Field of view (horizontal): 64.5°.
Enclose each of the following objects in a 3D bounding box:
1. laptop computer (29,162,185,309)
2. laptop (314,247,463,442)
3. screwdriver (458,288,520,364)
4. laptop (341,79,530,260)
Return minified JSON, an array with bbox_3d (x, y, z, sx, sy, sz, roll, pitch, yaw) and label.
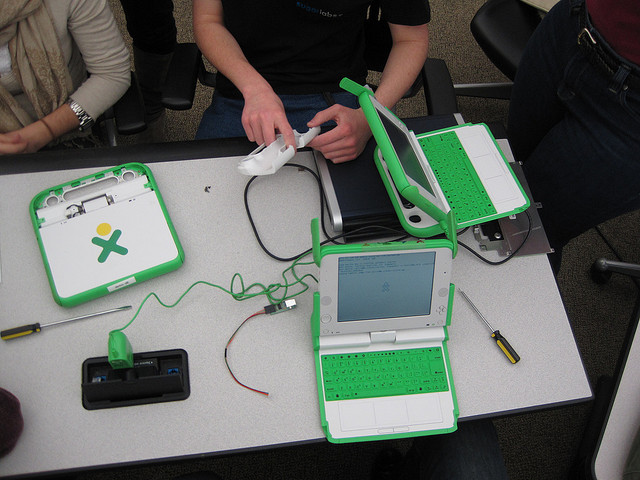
[{"bbox_3d":[-0.566,-0.025,1.347,0.332,0.067,0.356,-23,69,-14],"label":"laptop computer"},{"bbox_3d":[0.153,0.254,1.347,0.383,0.314,0.454,-2,63,-2],"label":"laptop"},{"bbox_3d":[0.437,0.221,1.329,0.034,0.030,0.230,-4,51,-44],"label":"screwdriver"},{"bbox_3d":[0.332,-0.133,1.524,0.442,0.311,0.609,-15,61,-3],"label":"laptop"}]
